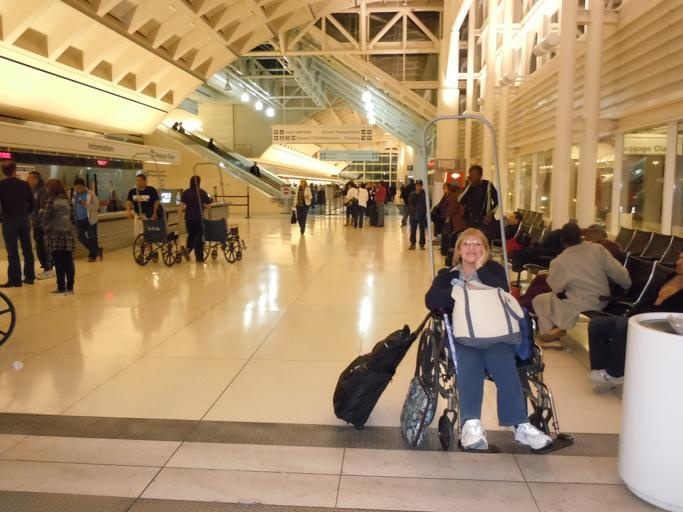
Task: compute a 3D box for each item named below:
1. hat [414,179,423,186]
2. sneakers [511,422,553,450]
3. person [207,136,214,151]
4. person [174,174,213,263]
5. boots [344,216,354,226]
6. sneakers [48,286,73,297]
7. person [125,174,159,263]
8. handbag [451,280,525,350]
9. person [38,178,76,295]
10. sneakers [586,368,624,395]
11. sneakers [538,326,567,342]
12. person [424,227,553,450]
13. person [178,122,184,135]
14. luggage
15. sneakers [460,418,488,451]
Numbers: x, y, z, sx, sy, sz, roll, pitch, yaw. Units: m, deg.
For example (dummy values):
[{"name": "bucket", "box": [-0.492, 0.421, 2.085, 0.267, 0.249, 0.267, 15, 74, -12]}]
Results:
[{"name": "hat", "box": [2.105, -1.966, 12.509, 0.216, 0.171, 0.358, 2, 11, 9]}, {"name": "sneakers", "box": [1.184, 1.119, 2.929, 0.129, 0.111, 0.255, -11, 3, -36]}, {"name": "person", "box": [-7.624, -6.486, 27.225, 0.422, 0.777, 1.710, -2, 9, -15]}, {"name": "person", "box": [-3.207, -0.775, 10.283, 0.582, 1.939, 0.496, -1, 9, -8]}, {"name": "boots", "box": [0.374, -1.548, 20.786, 0.411, 0.547, 0.535, 0, -5, 0]}, {"name": "sneakers", "box": [-4.524, 0.586, 7.539, 0.367, 0.148, 0.145, 5, 1, 3]}, {"name": "person", "box": [-4.350, -1.126, 10.246, 0.666, 1.298, 1.334, -4, 10, -25]}, {"name": "handbag", "box": [0.953, 0.408, 3.062, 0.423, 0.434, 0.168, 1, -32, -1]}, {"name": "person", "box": [-4.491, -0.291, 7.400, 0.425, 1.823, 0.516, -6, 10, -33]}, {"name": "sneakers", "box": [2.299, 1.092, 4.082, 0.112, 0.145, 0.334, 1, 8, -7]}, {"name": "sneakers", "box": [2.289, 0.867, 5.088, 0.128, 0.126, 0.311, -9, 7, -43]}, {"name": "person", "box": [0.960, 0.585, 3.188, 0.694, 1.453, 0.874, 0, 9, -2]}, {"name": "person", "box": [-9.088, -7.234, 26.408, 0.359, 0.710, 1.550, -3, 9, -18]}, {"name": "luggage", "box": [0.217, 0.841, 3.441, 0.428, 0.932, 0.399, 30, 30, 17]}, {"name": "sneakers", "box": [0.819, 1.131, 2.909, 0.146, 0.099, 0.212, -4, 14, 4]}]
